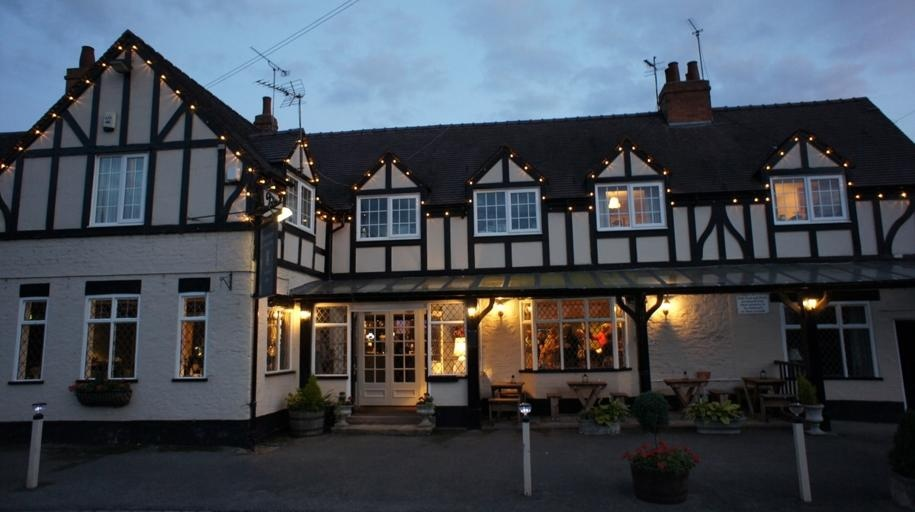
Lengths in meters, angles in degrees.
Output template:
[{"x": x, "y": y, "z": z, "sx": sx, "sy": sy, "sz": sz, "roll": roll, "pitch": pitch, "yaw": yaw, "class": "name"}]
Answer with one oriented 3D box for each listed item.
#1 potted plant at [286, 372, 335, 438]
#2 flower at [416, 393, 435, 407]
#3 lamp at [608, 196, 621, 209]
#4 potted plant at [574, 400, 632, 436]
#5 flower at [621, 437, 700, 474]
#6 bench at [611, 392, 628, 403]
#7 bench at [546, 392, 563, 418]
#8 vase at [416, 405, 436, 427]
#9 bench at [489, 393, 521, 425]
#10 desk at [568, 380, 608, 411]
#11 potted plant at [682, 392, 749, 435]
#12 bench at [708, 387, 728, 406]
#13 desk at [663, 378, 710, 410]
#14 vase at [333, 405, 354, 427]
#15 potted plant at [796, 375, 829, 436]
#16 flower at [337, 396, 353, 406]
[{"x": -5.208, "y": 5.254, "z": 25.712, "sx": 1.911, "sy": 2.133, "sz": 1.879, "roll": -9, "pitch": -11, "yaw": 39, "class": "potted plant"}, {"x": -1.122, "y": 4.955, "z": 25.563, "sx": 0.488, "sy": 0.333, "sz": 0.507, "roll": -3, "pitch": -1, "yaw": 0, "class": "flower"}, {"x": 5.791, "y": -1.967, "z": 27.231, "sx": 0.452, "sy": 0.668, "sz": 0.446, "roll": 2, "pitch": 7, "yaw": 23, "class": "lamp"}, {"x": 4.794, "y": 5.303, "z": 24.643, "sx": 1.331, "sy": 0.877, "sz": 1.210, "roll": 3, "pitch": -12, "yaw": -16, "class": "potted plant"}, {"x": 5.746, "y": 5.541, "z": 20.325, "sx": 1.406, "sy": 0.426, "sz": 1.359, "roll": -2, "pitch": -3, "yaw": 3, "class": "flower"}, {"x": 5.680, "y": 4.890, "z": 25.713, "sx": 0.461, "sy": 0.392, "sz": 0.440, "roll": 2, "pitch": -7, "yaw": -8, "class": "bench"}, {"x": 3.543, "y": 5.236, "z": 26.196, "sx": 0.782, "sy": 1.014, "sz": 0.750, "roll": -1, "pitch": -4, "yaw": 3, "class": "bench"}, {"x": -1.131, "y": 5.445, "z": 25.272, "sx": 0.708, "sy": 0.518, "sz": 0.681, "roll": 0, "pitch": -3, "yaw": 4, "class": "vase"}, {"x": 1.614, "y": 5.393, "z": 26.307, "sx": 0.983, "sy": 0.633, "sz": 1.015, "roll": 0, "pitch": -3, "yaw": 7, "class": "bench"}, {"x": 4.572, "y": 4.806, "z": 25.786, "sx": 1.282, "sy": 0.904, "sz": 1.097, "roll": 0, "pitch": -10, "yaw": 1, "class": "desk"}, {"x": 8.484, "y": 5.231, "z": 24.181, "sx": 1.819, "sy": 1.042, "sz": 0.711, "roll": 2, "pitch": 14, "yaw": 13, "class": "potted plant"}, {"x": 9.298, "y": 4.931, "z": 26.138, "sx": 0.866, "sy": 0.718, "sz": 0.605, "roll": 4, "pitch": -10, "yaw": -26, "class": "bench"}, {"x": 8.133, "y": 4.713, "z": 26.236, "sx": 1.423, "sy": 1.212, "sz": 1.362, "roll": 0, "pitch": -4, "yaw": -4, "class": "desk"}, {"x": -3.959, "y": 5.440, "z": 25.392, "sx": 0.699, "sy": 0.612, "sz": 0.668, "roll": 0, "pitch": -6, "yaw": -8, "class": "vase"}, {"x": 11.706, "y": 4.854, "z": 24.149, "sx": 0.974, "sy": 1.773, "sz": 0.660, "roll": 1, "pitch": 14, "yaw": 7, "class": "potted plant"}, {"x": -3.932, "y": 5.015, "z": 25.703, "sx": 0.367, "sy": 0.340, "sz": 0.657, "roll": 3, "pitch": -9, "yaw": 10, "class": "flower"}]
